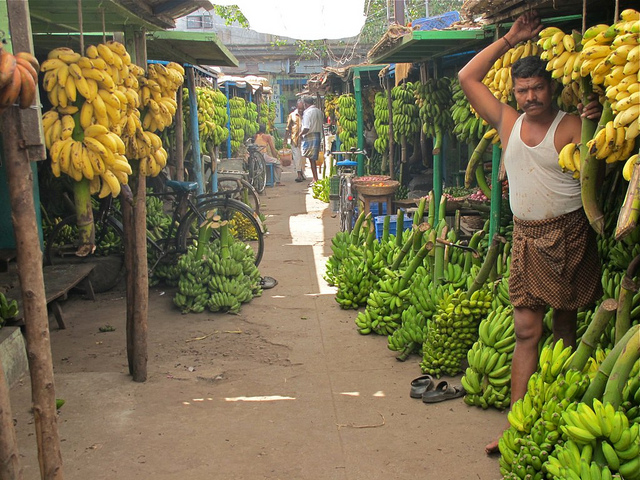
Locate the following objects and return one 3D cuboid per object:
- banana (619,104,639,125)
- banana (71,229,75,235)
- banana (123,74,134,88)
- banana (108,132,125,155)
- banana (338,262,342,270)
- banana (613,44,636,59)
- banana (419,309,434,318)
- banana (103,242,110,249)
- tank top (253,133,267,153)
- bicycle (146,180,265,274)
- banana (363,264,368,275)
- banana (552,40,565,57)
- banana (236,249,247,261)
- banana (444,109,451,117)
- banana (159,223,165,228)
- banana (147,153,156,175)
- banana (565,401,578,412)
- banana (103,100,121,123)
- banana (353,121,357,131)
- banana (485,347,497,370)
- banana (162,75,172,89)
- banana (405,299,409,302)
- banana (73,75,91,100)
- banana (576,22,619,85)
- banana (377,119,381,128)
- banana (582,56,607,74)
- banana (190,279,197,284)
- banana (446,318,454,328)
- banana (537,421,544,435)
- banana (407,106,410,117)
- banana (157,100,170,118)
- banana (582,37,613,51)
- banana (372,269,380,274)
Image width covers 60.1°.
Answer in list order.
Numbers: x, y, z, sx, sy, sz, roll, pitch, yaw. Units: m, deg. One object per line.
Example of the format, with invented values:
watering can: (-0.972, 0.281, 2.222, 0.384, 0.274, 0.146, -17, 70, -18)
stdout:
banana: (1.594, -0.647, 2.849, 0.038, 0.131, 0.039, 24, -23, 21)
banana: (-3.255, -0.113, 7.347, 0.024, 0.056, 0.032, -7, 14, -25)
banana: (-1.572, -1.315, 4.567, 0.050, 0.098, 0.138, 1, 13, 6)
banana: (-1.579, -0.759, 4.350, 0.049, 0.195, 0.062, 10, 45, 29)
banana: (0.264, 0.330, 6.965, 0.025, 0.086, 0.024, 5, 7, -2)
banana: (1.613, -1.001, 2.931, 0.098, 0.073, 0.036, 7, 15, 31)
banana: (0.983, 0.662, 5.105, 0.118, 0.054, 0.134, 10, 4, -4)
banana: (-2.652, 0.072, 6.916, 0.077, 0.073, 0.129, -6, 14, -22)
tank top: (-1.739, -2.914, 16.456, 0.378, 0.519, 0.549, 6, -8, 4)
bicycle: (-1.573, -0.224, 7.475, 1.730, 1.129, 0.992, 5, 7, 2)
banana: (0.527, 0.330, 6.279, 0.049, 0.095, 0.032, 22, -8, -15)
banana: (1.548, -1.236, 3.621, 0.035, 0.135, 0.042, 31, -4, -9)
banana: (-1.000, 0.170, 7.121, 0.040, 0.174, 0.044, 28, 12, -36)
banana: (1.824, -1.810, 7.847, 0.056, 0.145, 0.037, -40, 3, 22)
banana: (-2.205, -0.215, 7.771, 0.036, 0.055, 0.014, -3, 11, -9)
banana: (-1.477, -0.684, 4.887, 0.077, 0.153, 0.038, -7, 4, -41)
banana: (1.364, 0.898, 2.994, 0.030, 0.043, 0.114, -8, -13, 16)
banana: (-1.588, -0.990, 4.282, 0.050, 0.191, 0.061, -33, 11, 12)
banana: (0.797, -2.569, 12.401, 0.100, 0.077, 0.404, -3, 28, -7)
banana: (1.324, 0.905, 4.272, 0.040, 0.162, 0.058, 11, -27, 27)
banana: (-1.428, -1.493, 5.244, 0.021, 0.084, 0.029, -21, 13, 38)
banana: (0.878, 0.599, 5.549, 0.038, 0.026, 0.018, 0, 13, 3)
banana: (-1.748, -1.136, 4.109, 0.065, 0.225, 0.072, -29, -14, 16)
banana: (1.587, -1.108, 3.222, 0.143, 0.217, 0.426, -36, 17, 35)
banana: (1.166, -2.307, 10.911, 0.074, 0.143, 0.038, 7, 12, 28)
banana: (1.543, -0.996, 3.138, 0.055, 0.048, 0.172, 29, 44, 22)
banana: (-1.501, 0.490, 6.620, 0.039, 0.053, 0.027, -3, 4, -1)
banana: (1.097, 0.693, 4.657, 0.066, 0.038, 0.058, -35, -4, -32)
banana: (1.243, 1.051, 3.113, 0.036, 0.064, 0.010, 5, 13, 23)
banana: (1.526, -2.224, 9.460, 0.038, 0.160, 0.027, -3, 6, 5)
banana: (-1.442, -1.223, 5.188, 0.044, 0.178, 0.059, -20, 36, 12)
banana: (1.588, -1.128, 3.167, 0.148, 0.064, 0.071, 6, 14, 26)
banana: (0.641, 0.350, 6.326, 0.049, 0.052, 0.013, -32, 15, -9)
